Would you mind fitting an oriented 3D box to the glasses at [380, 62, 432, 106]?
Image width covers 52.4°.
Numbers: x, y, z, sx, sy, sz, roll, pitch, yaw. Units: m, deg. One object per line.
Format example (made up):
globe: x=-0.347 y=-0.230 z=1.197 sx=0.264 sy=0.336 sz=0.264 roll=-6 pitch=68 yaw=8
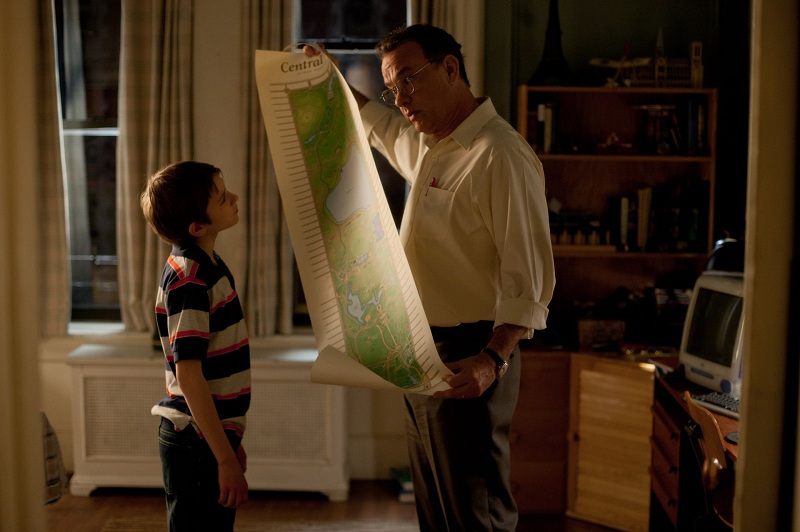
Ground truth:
glasses: x=0.025 y=-0.731 z=3.149 sx=0.160 sy=0.049 sz=0.152 roll=-41 pitch=11 yaw=-23
